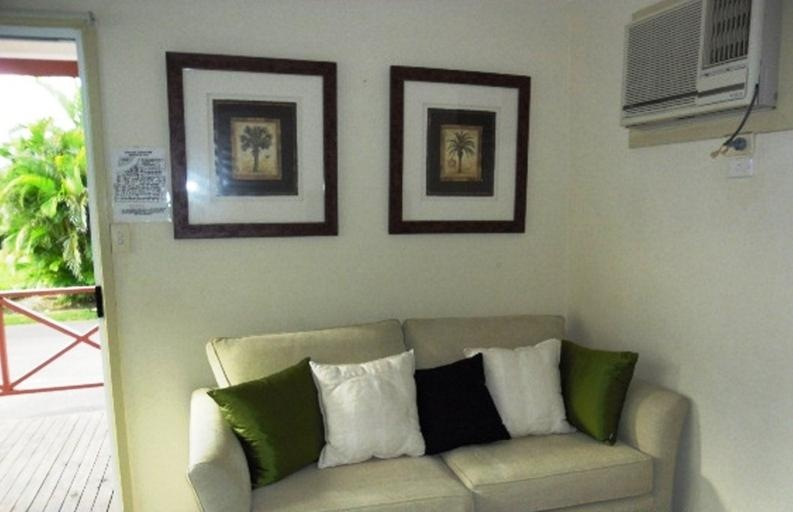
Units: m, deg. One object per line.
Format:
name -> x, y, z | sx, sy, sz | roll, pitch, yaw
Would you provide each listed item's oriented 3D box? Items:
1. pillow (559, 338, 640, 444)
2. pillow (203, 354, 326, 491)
pillow -> 1.212, 0.833, 3.940 | 0.163, 0.522, 0.544 | 7, 5, -39
pillow -> -0.711, 0.973, 3.668 | 0.595, 0.632, 0.235 | -6, 8, -30
